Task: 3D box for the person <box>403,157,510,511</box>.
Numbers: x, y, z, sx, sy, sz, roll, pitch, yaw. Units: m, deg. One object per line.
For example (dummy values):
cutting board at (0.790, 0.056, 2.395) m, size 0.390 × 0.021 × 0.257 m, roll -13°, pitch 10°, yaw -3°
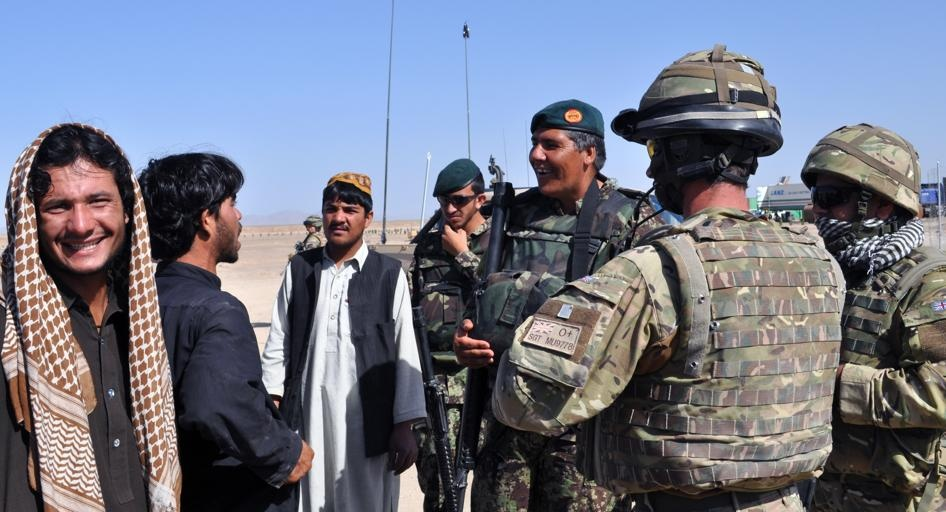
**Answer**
person at (0.072, 0.639, 6.559) m, size 0.706 × 2.927 × 1.142 m, roll 2°, pitch 2°, yaw -12°
